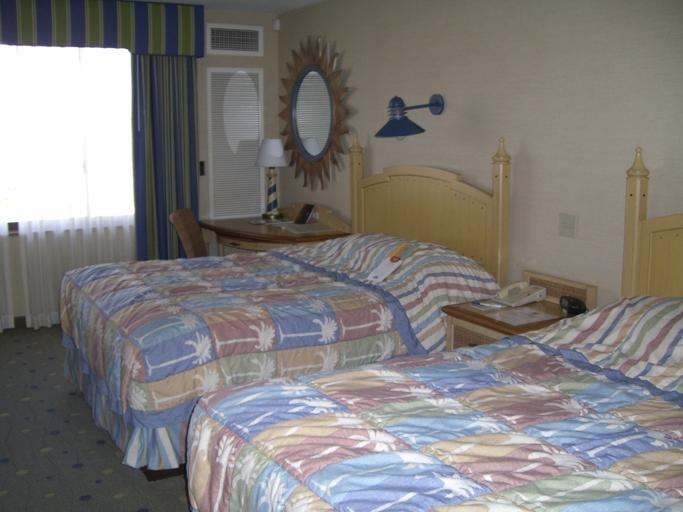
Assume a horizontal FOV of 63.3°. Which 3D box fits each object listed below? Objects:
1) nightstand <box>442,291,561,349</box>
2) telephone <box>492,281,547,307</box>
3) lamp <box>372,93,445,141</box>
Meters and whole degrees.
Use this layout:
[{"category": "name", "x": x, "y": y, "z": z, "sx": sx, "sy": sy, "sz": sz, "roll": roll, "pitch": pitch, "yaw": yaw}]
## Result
[{"category": "nightstand", "x": 0.989, "y": 0.365, "z": 3.290, "sx": 0.388, "sy": 0.405, "sz": 0.436, "roll": -7, "pitch": 12, "yaw": -31}, {"category": "telephone", "x": 1.103, "y": 0.234, "z": 3.444, "sx": 0.219, "sy": 0.079, "sz": 0.163, "roll": -9, "pitch": 13, "yaw": -18}, {"category": "lamp", "x": 0.481, "y": -1.021, "z": 4.045, "sx": 0.522, "sy": 0.262, "sz": 0.319, "roll": -10, "pitch": 16, "yaw": -23}]
